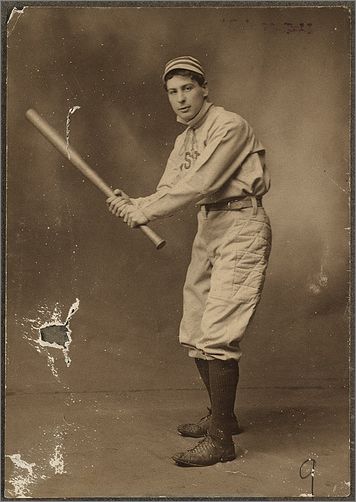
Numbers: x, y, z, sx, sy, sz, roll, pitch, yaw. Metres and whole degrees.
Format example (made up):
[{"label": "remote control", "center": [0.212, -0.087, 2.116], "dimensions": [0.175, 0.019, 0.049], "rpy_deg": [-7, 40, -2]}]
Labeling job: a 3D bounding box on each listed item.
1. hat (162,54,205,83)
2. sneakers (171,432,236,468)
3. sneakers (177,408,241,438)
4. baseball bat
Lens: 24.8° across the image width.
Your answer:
[{"label": "hat", "center": [0.036, -0.790, 3.524], "dimensions": [0.140, 0.063, 0.144], "rpy_deg": [4, 9, 44]}, {"label": "sneakers", "center": [0.135, 0.857, 3.433], "dimensions": [0.331, 0.126, 0.115], "rpy_deg": [-1, -7, -1]}, {"label": "sneakers", "center": [0.166, 0.794, 3.686], "dimensions": [0.366, 0.123, 0.109], "rpy_deg": [0, -2, 1]}, {"label": "baseball bat", "center": [-0.398, -0.355, 3.724], "dimensions": [0.120, 0.901, 0.093], "rpy_deg": [-41, -14, -39]}]
